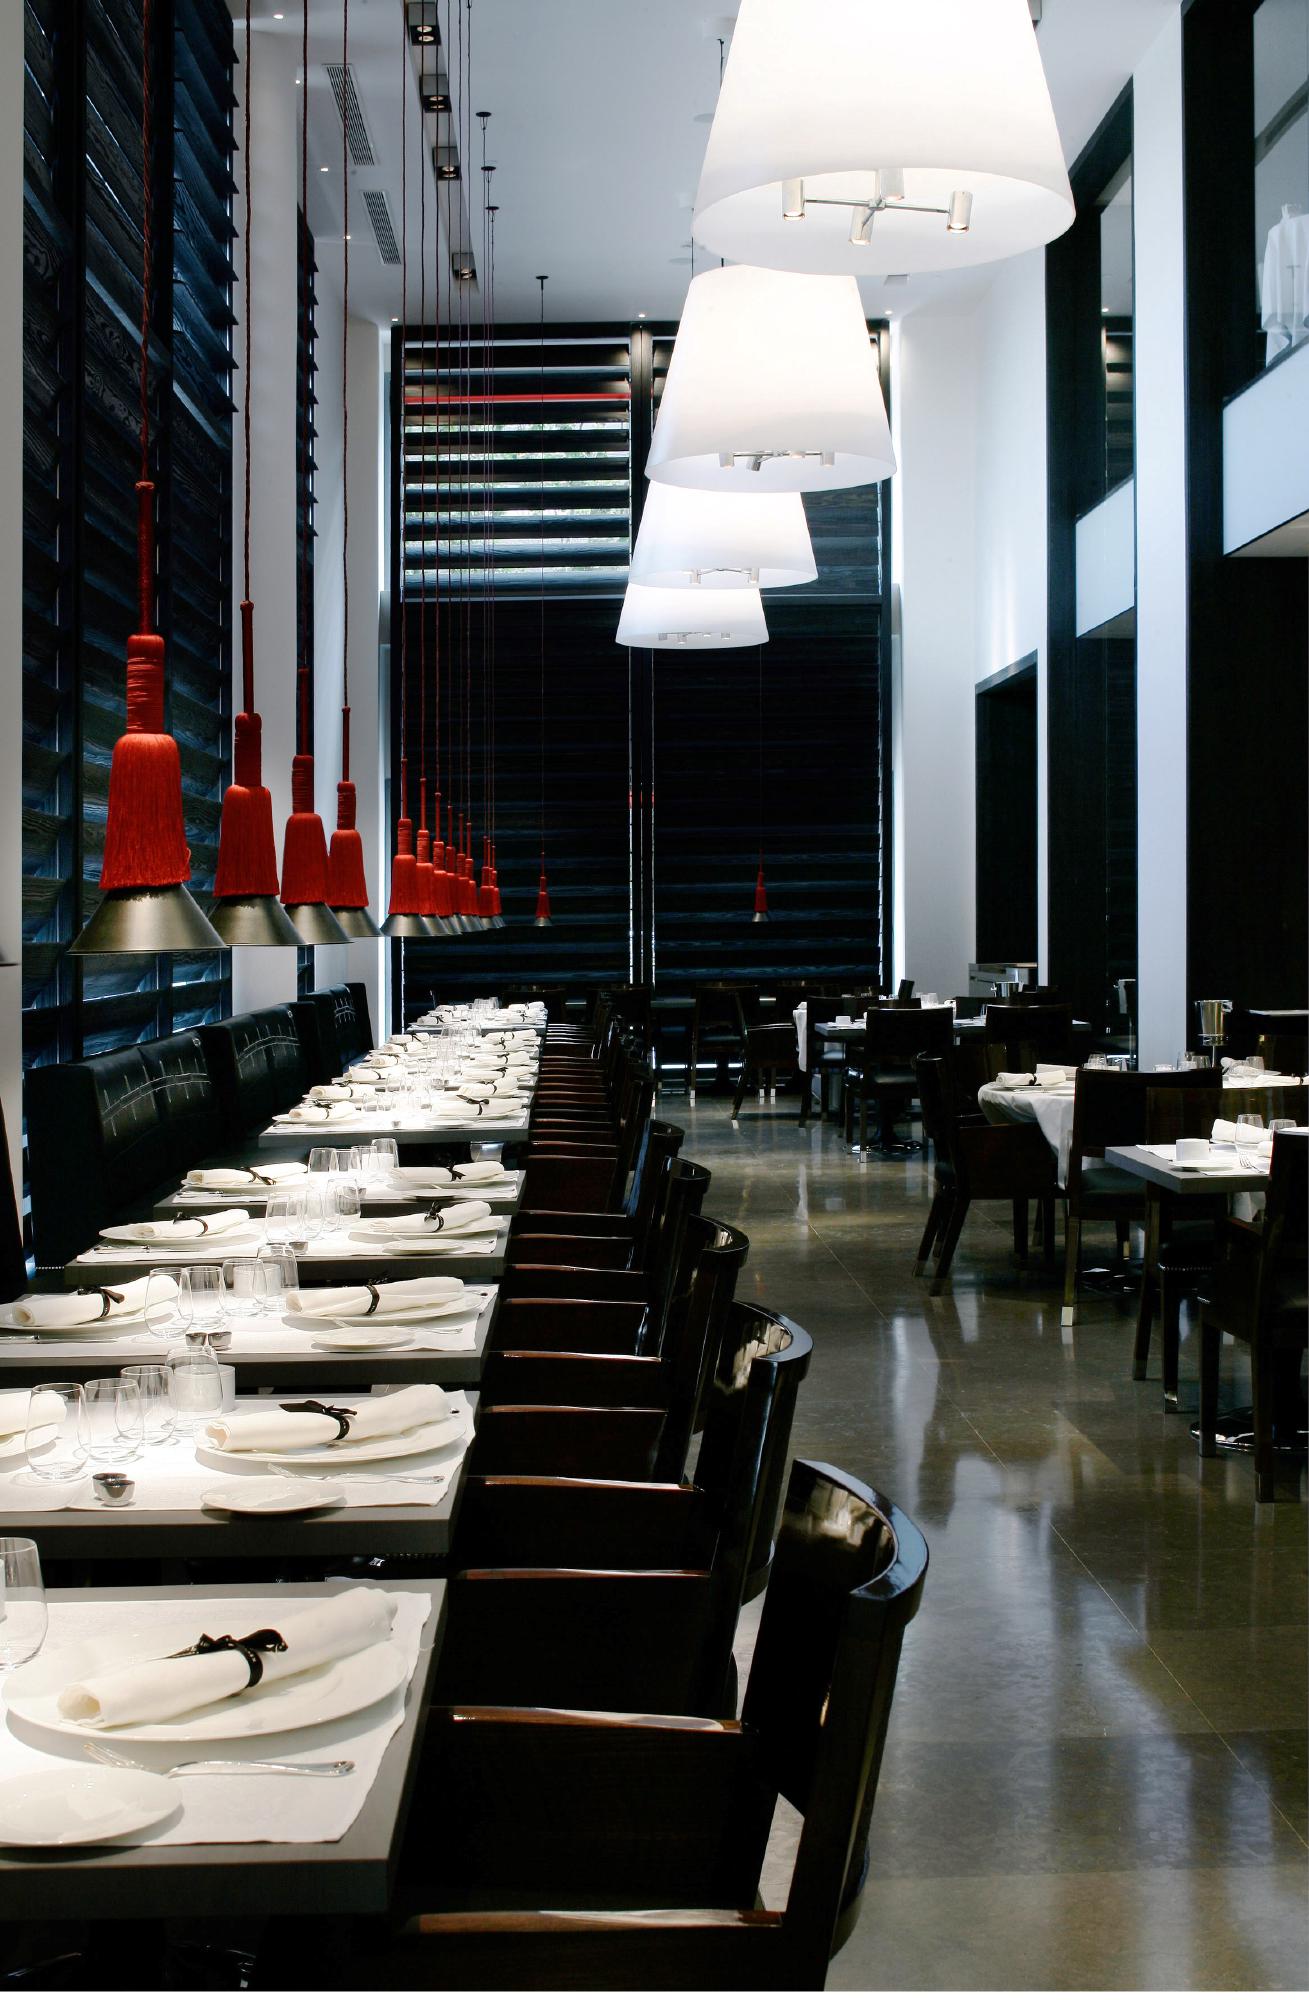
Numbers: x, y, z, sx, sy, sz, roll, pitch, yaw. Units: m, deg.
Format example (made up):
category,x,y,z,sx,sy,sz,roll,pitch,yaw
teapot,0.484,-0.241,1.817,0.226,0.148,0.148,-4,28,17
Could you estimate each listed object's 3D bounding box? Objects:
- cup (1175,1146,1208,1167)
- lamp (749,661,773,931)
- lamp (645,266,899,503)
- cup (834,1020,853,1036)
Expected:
category,x,y,z,sx,sy,sz,roll,pitch,yaw
cup,1.700,0.494,4.827,0.069,0.072,0.065,-2,1,0
lamp,1.045,-1.955,15.144,0.160,2.598,0.152,1,0,1
lamp,0.343,-1.790,4.574,0.572,0.956,0.717,-1,8,-11
cup,1.431,0.214,11.707,0.090,0.103,0.116,2,3,5
